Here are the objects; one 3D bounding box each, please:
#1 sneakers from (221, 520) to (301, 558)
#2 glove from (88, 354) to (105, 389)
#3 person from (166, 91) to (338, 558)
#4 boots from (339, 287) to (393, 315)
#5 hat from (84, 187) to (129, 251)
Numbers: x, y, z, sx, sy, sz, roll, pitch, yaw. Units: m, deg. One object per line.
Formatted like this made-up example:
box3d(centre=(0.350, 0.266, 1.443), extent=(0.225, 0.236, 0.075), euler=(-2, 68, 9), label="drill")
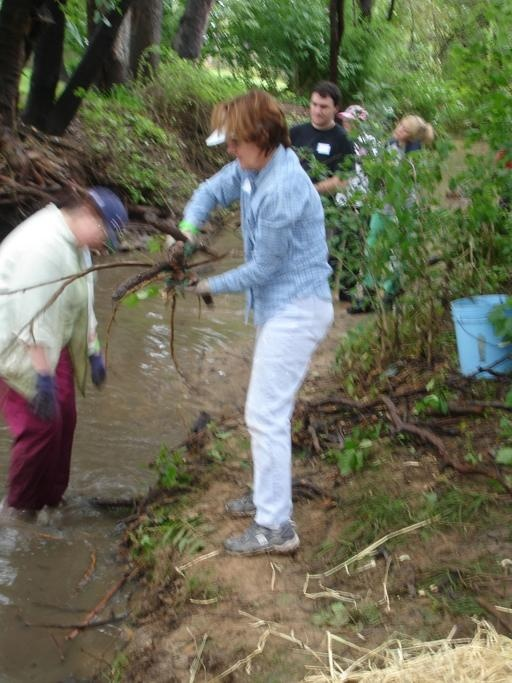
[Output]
box3d(centre=(0.045, 0.997, 3.604), extent=(0.453, 0.182, 0.142), euler=(0, 2, -2), label="sneakers")
box3d(centre=(-0.943, 0.182, 4.305), extent=(0.087, 0.245, 0.088), euler=(3, 46, 1), label="glove")
box3d(centre=(0.030, -0.031, 3.394), extent=(0.676, 2.208, 0.390), euler=(9, 15, 4), label="person")
box3d(centre=(0.879, -0.316, 5.595), extent=(0.322, 0.273, 0.148), euler=(-7, -33, 19), label="boots")
box3d(centre=(-0.713, -0.632, 3.583), extent=(0.176, 0.295, 0.224), euler=(-26, 26, -13), label="hat")
